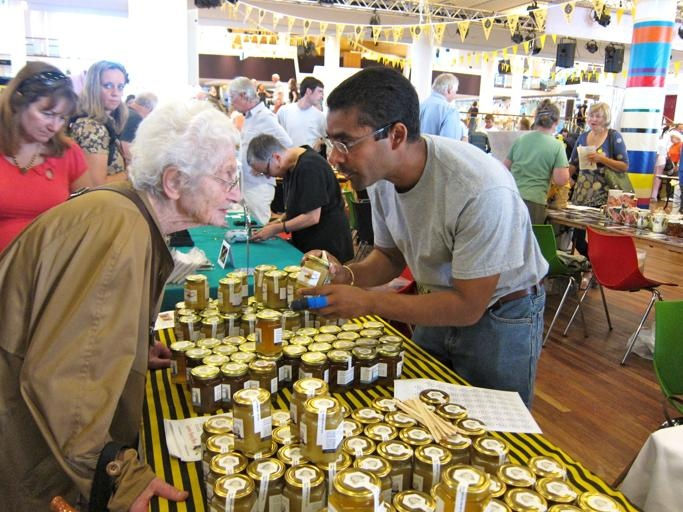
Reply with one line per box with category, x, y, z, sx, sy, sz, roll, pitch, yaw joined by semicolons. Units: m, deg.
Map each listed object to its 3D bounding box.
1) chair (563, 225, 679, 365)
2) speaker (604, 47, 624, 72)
chair;2.492;0.349;4.361;0.860;1.274;0.836;-19;19;-22
speaker;6.598;-4.763;11.838;0.397;0.666;0.658;7;15;23
